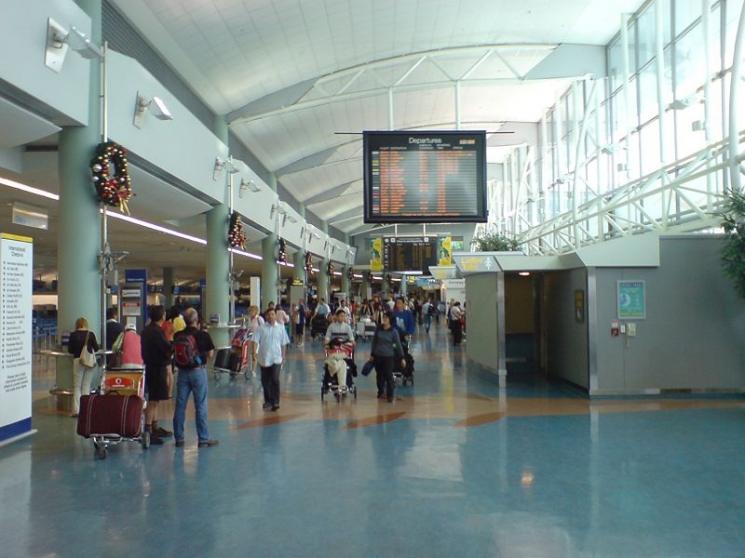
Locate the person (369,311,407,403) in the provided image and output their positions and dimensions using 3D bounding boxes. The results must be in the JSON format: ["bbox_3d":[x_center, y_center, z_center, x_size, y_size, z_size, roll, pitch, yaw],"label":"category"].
[{"bbox_3d":[0.286,1.545,12.438,0.574,1.830,1.169,0,2,9],"label":"person"}]

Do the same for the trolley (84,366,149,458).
[{"bbox_3d":[-3.724,1.857,8.651,0.859,1.274,1.219,2,-13,-17],"label":"trolley"}]

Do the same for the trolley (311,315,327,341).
[{"bbox_3d":[-2.173,2.013,25.192,0.743,1.015,1.031,1,17,6],"label":"trolley"}]

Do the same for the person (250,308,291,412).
[{"bbox_3d":[-1.953,1.498,11.584,0.614,1.906,1.085,-1,2,-12],"label":"person"}]

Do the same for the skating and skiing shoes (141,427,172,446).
[{"bbox_3d":[-3.289,2.367,9.073,0.431,0.309,0.145,0,5,-25],"label":"skating and skiing shoes"}]

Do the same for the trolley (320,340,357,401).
[{"bbox_3d":[-0.685,1.825,12.230,0.744,1.244,0.563,-1,2,-15],"label":"trolley"}]
